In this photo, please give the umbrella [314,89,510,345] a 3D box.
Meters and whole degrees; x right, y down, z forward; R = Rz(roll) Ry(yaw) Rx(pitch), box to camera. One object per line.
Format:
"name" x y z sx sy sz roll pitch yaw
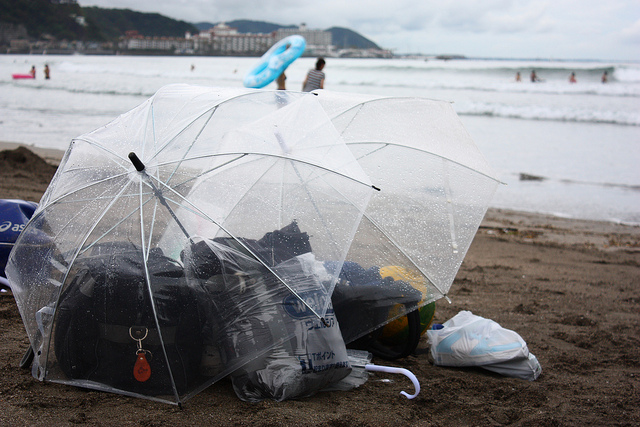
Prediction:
"umbrella" 1.201 0.197 10.999 2.734 2.993 2.029 -1 -7 -2
